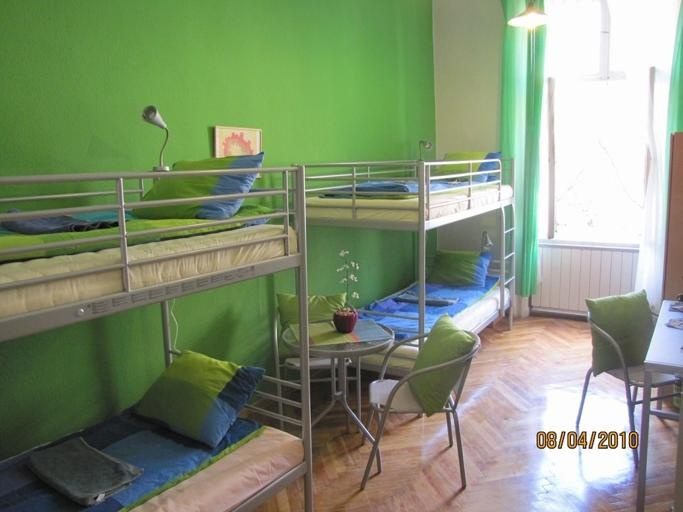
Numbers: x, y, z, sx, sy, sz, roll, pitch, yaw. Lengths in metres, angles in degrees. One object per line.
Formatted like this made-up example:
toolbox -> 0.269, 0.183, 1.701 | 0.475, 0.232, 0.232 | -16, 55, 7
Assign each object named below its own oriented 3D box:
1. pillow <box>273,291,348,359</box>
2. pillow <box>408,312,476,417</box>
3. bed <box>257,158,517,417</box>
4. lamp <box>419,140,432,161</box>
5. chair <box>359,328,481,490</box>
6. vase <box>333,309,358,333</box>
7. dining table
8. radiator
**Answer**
pillow -> -0.225, 0.519, 3.946 | 0.556, 0.525, 0.202 | -4, -20, -7
pillow -> 0.684, 0.774, 3.730 | 0.336, 0.570, 0.650 | -3, 31, -4
bed -> 0.361, 0.275, 4.490 | 1.229, 1.910, 2.223 | 1, 6, 24
lamp -> 1.006, -1.268, 6.408 | 0.175, 0.224, 0.571 | 0, 10, 9
chair -> 0.471, 0.957, 3.995 | 0.994, 1.248, 0.974 | 2, 8, 1
vase -> 0.030, 0.476, 3.986 | 0.164, 0.154, 0.162 | -1, 1, -35
dining table -> 0.039, 0.943, 3.977 | 0.937, 0.807, 0.859 | 1, 3, 11
radiator -> 2.597, 0.195, 5.678 | 0.880, 0.681, 0.070 | 5, 8, 34
